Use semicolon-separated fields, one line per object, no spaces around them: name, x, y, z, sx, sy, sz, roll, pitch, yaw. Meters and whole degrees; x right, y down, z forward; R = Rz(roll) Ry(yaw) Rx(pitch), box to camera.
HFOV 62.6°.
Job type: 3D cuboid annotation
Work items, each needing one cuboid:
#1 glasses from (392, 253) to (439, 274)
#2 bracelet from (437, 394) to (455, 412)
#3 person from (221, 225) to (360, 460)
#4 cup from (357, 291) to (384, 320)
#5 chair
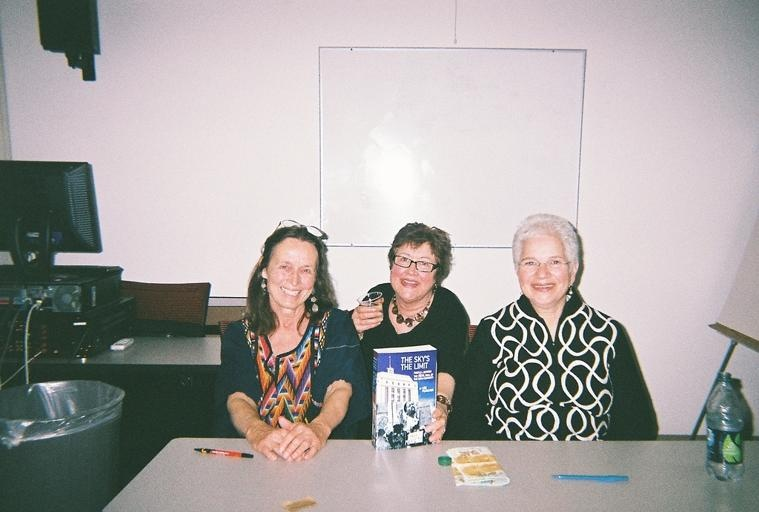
glasses;0.216;0.044;3.786;0.263;0.100;0.074;1;5;2
bracelet;0.337;0.763;3.258;0.105;0.055;0.081;27;6;-1
person;-0.444;0.394;3.289;0.697;1.090;0.761;-4;7;-39
cup;-0.047;0.288;3.795;0.115;0.101;0.125;-2;7;0
chair;-1.530;0.411;4.523;0.398;0.551;0.443;3;-14;-12
